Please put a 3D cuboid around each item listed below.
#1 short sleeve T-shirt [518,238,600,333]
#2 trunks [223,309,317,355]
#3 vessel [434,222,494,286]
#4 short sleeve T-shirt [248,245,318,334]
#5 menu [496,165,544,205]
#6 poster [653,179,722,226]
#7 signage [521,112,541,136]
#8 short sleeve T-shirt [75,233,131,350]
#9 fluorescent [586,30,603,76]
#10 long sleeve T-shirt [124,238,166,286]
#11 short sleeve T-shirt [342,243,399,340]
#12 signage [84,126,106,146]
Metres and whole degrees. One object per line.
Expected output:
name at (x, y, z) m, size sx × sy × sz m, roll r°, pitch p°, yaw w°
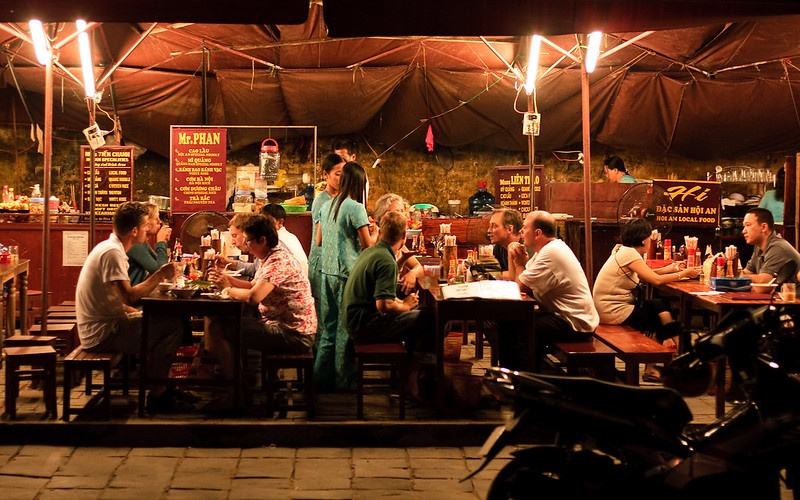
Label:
short sleeve T-shirt at (1.719, 0.399, 7.891) m, size 1.051 × 1.059 × 1.069 m, roll 1°, pitch 3°, yaw -10°
trunks at (-1.421, 0.932, 7.317) m, size 0.951 × 0.388 × 0.355 m, roll 0°, pitch 3°, yaw -12°
vessel at (1.021, 0.232, 10.910) m, size 0.891 × 0.937 × 1.524 m, roll -1°, pitch 3°, yaw 3°
short sleeve T-shirt at (-1.465, 0.485, 7.926) m, size 0.969 × 1.247 × 1.294 m, roll 1°, pitch -5°, yaw -3°
menu at (2.051, -1.092, 11.472) m, size 0.805 × 0.674 × 0.079 m, roll -5°, pitch -4°, yaw 9°
poster at (4.677, -0.725, 10.992) m, size 0.153 × 0.853 × 1.343 m, roll -3°, pitch 7°, yaw -26°
signage at (1.957, -1.898, 10.036) m, size 0.190 × 0.348 × 0.503 m, roll 2°, pitch 3°, yaw 17°
short sleeve T-shirt at (-3.184, 0.493, 7.238) m, size 0.530 × 1.130 × 0.144 m, roll 1°, pitch 3°, yaw 4°
fluorescent at (2.534, -2.593, 8.886) m, size 0.239 × 0.199 × 0.930 m, roll 11°, pitch -12°, yaw 18°
long sleeve T-shirt at (-3.055, 0.163, 8.088) m, size 0.582 × 0.249 × 0.350 m, roll -16°, pitch 5°, yaw 19°
short sleeve T-shirt at (-0.332, 0.445, 7.455) m, size 0.570 × 1.073 × 0.341 m, roll 0°, pitch 3°, yaw -4°
signage at (-4.172, -1.563, 9.289) m, size 0.220 × 0.347 × 0.508 m, roll 0°, pitch 3°, yaw -19°
